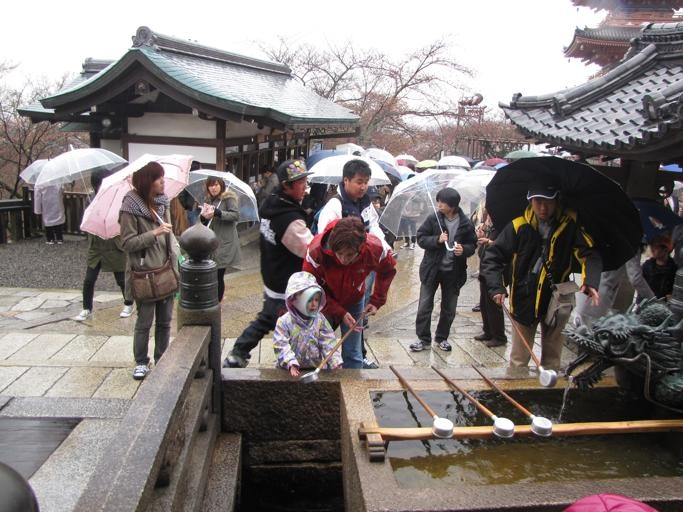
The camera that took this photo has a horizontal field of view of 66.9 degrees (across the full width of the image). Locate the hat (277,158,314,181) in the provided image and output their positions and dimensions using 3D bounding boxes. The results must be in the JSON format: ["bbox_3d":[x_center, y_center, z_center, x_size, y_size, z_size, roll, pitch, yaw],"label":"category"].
[{"bbox_3d":[-0.441,-0.785,4.844,0.260,0.146,0.193,-3,17,45],"label":"hat"}]

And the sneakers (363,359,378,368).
[{"bbox_3d":[0.296,1.072,5.090,0.198,0.080,0.071,0,1,33],"label":"sneakers"}]

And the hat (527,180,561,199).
[{"bbox_3d":[1.871,-0.591,4.824,0.263,0.185,0.428,3,0,18],"label":"hat"}]

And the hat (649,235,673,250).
[{"bbox_3d":[3.812,-0.153,6.130,0.221,0.192,0.151,5,12,24],"label":"hat"}]

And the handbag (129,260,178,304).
[{"bbox_3d":[-1.901,0.268,5.125,0.350,0.419,0.449,-9,-1,-28],"label":"handbag"}]

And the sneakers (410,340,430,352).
[{"bbox_3d":[0.990,1.161,6.525,0.283,0.115,0.101,4,-7,-38],"label":"sneakers"}]

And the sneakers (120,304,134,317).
[{"bbox_3d":[-2.964,0.751,7.114,0.149,0.154,0.239,-1,11,-9],"label":"sneakers"}]

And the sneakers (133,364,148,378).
[{"bbox_3d":[-1.978,1.146,5.071,0.088,0.088,0.212,1,-11,-7],"label":"sneakers"}]

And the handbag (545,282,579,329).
[{"bbox_3d":[2.092,0.464,4.900,0.272,0.456,0.103,1,11,2],"label":"handbag"}]

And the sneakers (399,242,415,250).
[{"bbox_3d":[1.828,-0.264,14.033,0.173,0.211,0.514,0,-1,28],"label":"sneakers"}]

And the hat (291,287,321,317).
[{"bbox_3d":[-0.312,0.351,4.253,0.201,0.255,0.250,17,6,-11],"label":"hat"}]

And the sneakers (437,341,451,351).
[{"bbox_3d":[1.332,1.146,6.603,0.182,0.105,0.209,0,10,1],"label":"sneakers"}]

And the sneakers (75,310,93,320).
[{"bbox_3d":[-3.431,0.795,6.878,0.105,0.125,0.280,2,-7,-1],"label":"sneakers"}]
